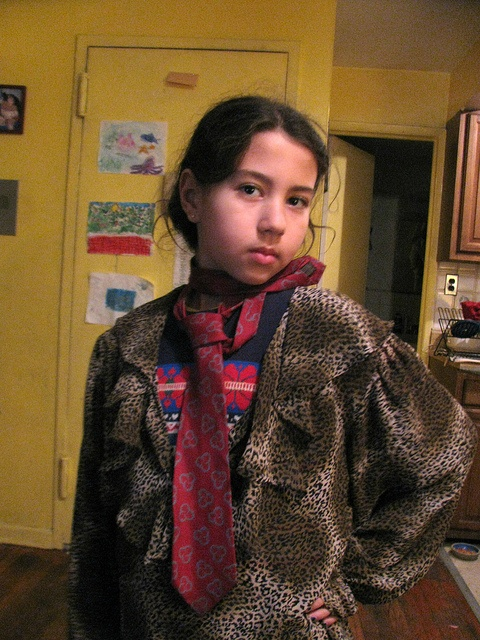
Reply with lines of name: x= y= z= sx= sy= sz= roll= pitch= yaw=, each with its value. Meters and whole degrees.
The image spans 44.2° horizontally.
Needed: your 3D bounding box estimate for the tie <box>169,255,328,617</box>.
tie: x=-0.029 y=0.114 z=0.746 sx=0.208 sy=0.406 sz=0.222 roll=7 pitch=4 yaw=14
